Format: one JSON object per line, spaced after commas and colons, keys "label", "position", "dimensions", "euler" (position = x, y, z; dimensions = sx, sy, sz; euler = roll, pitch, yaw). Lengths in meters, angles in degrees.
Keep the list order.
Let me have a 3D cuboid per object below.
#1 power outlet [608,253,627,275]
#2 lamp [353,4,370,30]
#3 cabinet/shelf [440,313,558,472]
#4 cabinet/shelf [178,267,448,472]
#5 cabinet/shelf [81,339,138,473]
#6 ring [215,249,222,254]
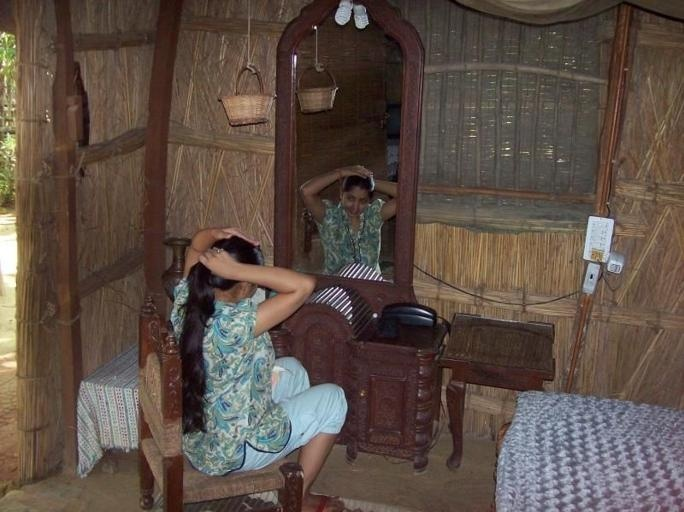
{"label": "power outlet", "position": [1.513, 0.033, 3.246], "dimensions": [0.101, 0.125, 0.123], "euler": [9, 15, 14]}
{"label": "lamp", "position": [0.104, -1.358, 3.293], "dimensions": [0.073, 0.129, 0.043], "euler": [-3, 19, 6]}
{"label": "cabinet/shelf", "position": [0.871, 0.814, 3.383], "dimensions": [0.494, 0.726, 0.601], "euler": [17, 20, 21]}
{"label": "cabinet/shelf", "position": [0.091, 0.636, 3.516], "dimensions": [0.971, 1.015, 0.588], "euler": [9, 29, 20]}
{"label": "cabinet/shelf", "position": [-1.304, 0.960, 3.332], "dimensions": [0.368, 0.631, 0.221], "euler": [6, 9, 8]}
{"label": "ring", "position": [-0.521, -0.021, 2.443], "dimensions": [0.022, 0.006, 0.024], "euler": [8, 24, -3]}
